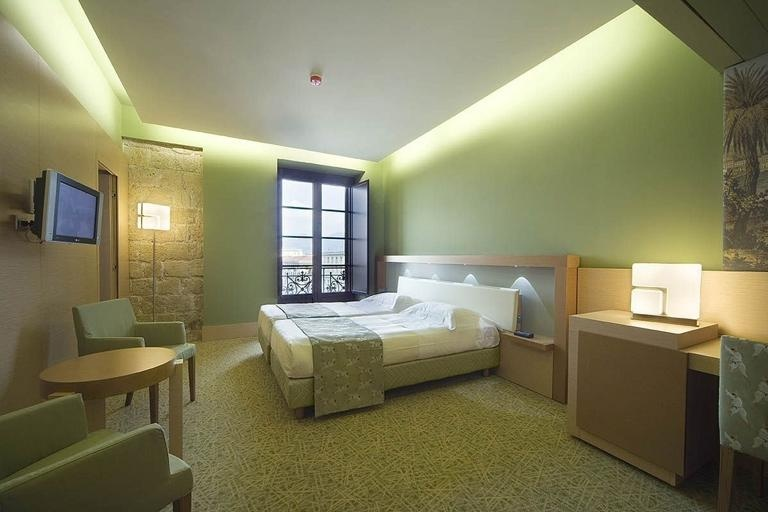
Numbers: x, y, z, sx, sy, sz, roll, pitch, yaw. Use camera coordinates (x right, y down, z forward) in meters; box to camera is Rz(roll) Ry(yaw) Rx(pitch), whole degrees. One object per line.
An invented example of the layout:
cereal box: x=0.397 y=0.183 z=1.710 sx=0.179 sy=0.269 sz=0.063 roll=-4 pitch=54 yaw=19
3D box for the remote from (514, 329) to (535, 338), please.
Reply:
remote: x=1.582 y=0.875 z=5.476 sx=0.210 sy=0.055 sz=0.300 roll=-1 pitch=1 yaw=20

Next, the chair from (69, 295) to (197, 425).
chair: x=-2.115 y=1.193 z=4.439 sx=0.980 sy=0.797 sz=0.858 roll=6 pitch=7 yaw=4

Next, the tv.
tv: x=-2.967 y=-0.437 z=4.662 sx=0.471 sy=0.799 sz=0.914 roll=3 pitch=1 yaw=-9

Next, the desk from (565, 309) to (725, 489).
desk: x=2.109 y=1.302 z=4.594 sx=1.179 sy=1.400 sz=0.774 roll=27 pitch=-28 yaw=-7

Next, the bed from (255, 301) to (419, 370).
bed: x=-0.735 y=0.908 z=6.478 sx=1.362 sy=0.583 sz=1.034 roll=3 pitch=-5 yaw=-23

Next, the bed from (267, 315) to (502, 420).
bed: x=-0.071 y=1.091 z=5.353 sx=1.449 sy=0.565 sz=1.405 roll=2 pitch=-5 yaw=-23

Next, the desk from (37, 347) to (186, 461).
desk: x=-2.258 y=1.279 z=4.129 sx=1.038 sy=0.822 sz=0.867 roll=0 pitch=4 yaw=-30
